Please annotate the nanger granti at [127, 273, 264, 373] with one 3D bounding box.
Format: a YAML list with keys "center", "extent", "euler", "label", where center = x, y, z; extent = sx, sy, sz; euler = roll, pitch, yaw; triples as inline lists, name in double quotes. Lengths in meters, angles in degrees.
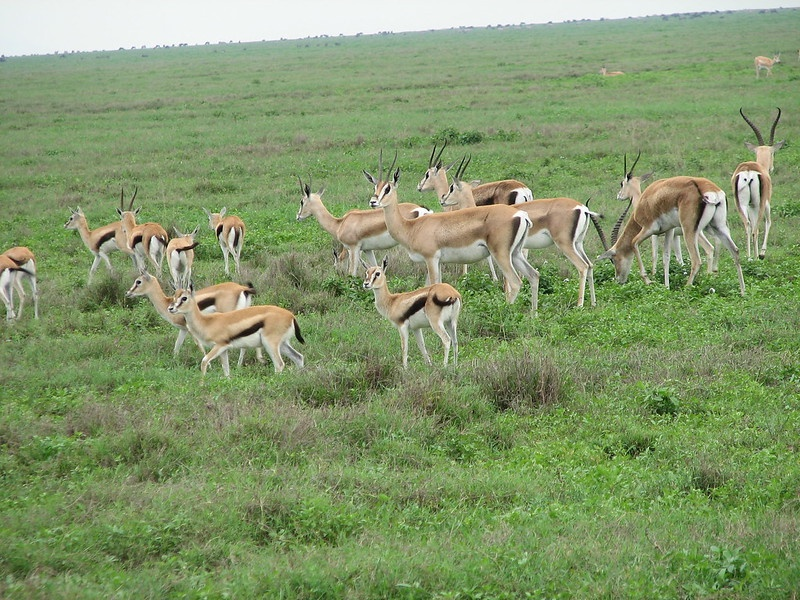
- center: [-2.960, 0.274, 12.612]
  extent: [1.939, 1.433, 0.508]
  euler: [-5, 4, 3]
  label: "nanger granti"

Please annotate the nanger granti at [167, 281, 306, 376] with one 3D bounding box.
- center: [-2.158, 0.504, 11.473]
  extent: [1.786, 1.279, 0.520]
  euler: [0, -1, -16]
  label: "nanger granti"

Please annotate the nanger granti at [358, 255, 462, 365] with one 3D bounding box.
- center: [0.159, 0.180, 11.566]
  extent: [1.249, 1.354, 0.788]
  euler: [1, 12, 31]
  label: "nanger granti"
